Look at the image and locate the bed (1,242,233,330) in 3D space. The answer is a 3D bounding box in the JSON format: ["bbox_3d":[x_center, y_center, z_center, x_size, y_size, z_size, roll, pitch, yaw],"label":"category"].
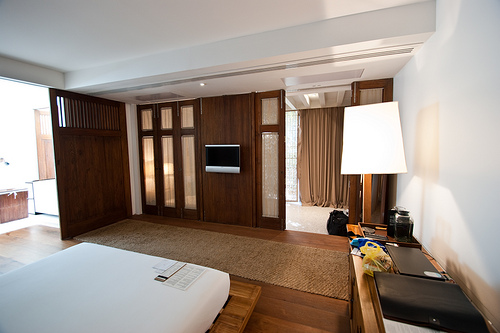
[{"bbox_3d":[-1.520,1.407,3.458,2.335,0.688,1.083,-1,4,13],"label":"bed"}]

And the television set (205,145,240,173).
[{"bbox_3d":[-0.517,-0.164,6.029,0.654,0.474,0.074,2,6,13],"label":"television set"}]

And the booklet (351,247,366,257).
[{"bbox_3d":[1.170,0.927,3.451,0.134,0.034,0.147,1,5,13],"label":"booklet"}]

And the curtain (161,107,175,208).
[{"bbox_3d":[-1.695,-0.196,6.573,0.310,2.065,0.033,0,4,20],"label":"curtain"}]

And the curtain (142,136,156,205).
[{"bbox_3d":[-2.136,0.082,6.763,0.309,1.466,0.065,1,5,29],"label":"curtain"}]

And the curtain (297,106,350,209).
[{"bbox_3d":[1.828,-0.243,8.032,1.186,2.475,0.131,0,5,22],"label":"curtain"}]

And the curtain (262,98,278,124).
[{"bbox_3d":[0.352,-1.004,5.757,0.400,0.532,0.043,-8,18,-22],"label":"curtain"}]

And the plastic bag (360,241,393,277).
[{"bbox_3d":[1.339,0.990,3.390,0.287,0.439,0.460,-12,-23,29],"label":"plastic bag"}]

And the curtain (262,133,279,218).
[{"bbox_3d":[0.359,0.149,5.848,0.320,1.531,0.086,1,5,34],"label":"curtain"}]

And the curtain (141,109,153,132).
[{"bbox_3d":[-2.163,-0.973,6.684,0.308,0.452,0.057,1,5,34],"label":"curtain"}]

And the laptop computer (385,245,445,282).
[{"bbox_3d":[1.632,0.950,3.183,0.424,0.233,0.383,-1,4,3],"label":"laptop computer"}]

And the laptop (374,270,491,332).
[{"bbox_3d":[1.576,1.206,2.818,0.546,0.126,0.524,5,9,16],"label":"laptop"}]
